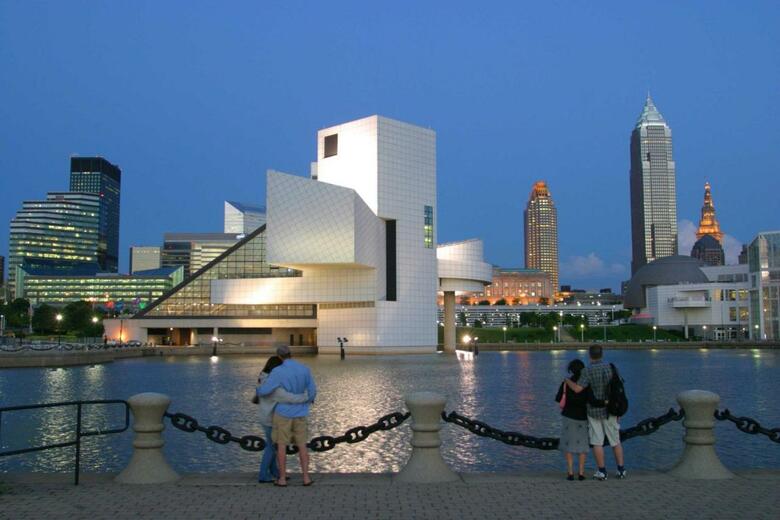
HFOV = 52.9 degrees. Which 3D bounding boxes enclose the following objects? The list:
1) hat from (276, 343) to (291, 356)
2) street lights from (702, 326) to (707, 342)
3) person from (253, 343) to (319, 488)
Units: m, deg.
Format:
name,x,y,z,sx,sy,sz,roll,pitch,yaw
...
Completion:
name,x,y,z,sx,sy,sz,roll,pitch,yaw
hat,-2.413,2.031,17.642,0.279,0.310,0.338,-1,5,-13
street lights,53.617,12.041,133.567,0.584,1.798,0.923,-2,-6,16
person,-2.317,3.472,17.663,1.200,3.103,0.896,1,-6,-6
